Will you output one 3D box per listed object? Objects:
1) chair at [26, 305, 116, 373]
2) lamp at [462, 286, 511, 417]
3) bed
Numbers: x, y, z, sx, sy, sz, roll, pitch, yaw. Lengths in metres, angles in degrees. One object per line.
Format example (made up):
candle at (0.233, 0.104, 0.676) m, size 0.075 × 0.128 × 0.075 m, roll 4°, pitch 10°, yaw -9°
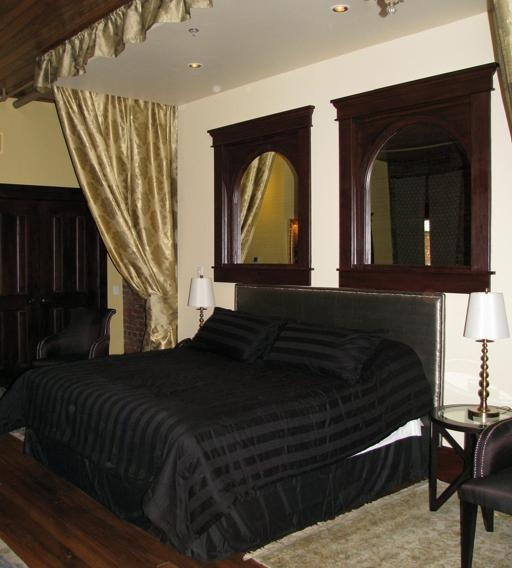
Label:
chair at (-1.846, 0.710, 5.298) m, size 0.613 × 0.929 × 0.673 m, roll 2°, pitch -3°, yaw 10°
lamp at (1.293, 0.384, 2.866) m, size 0.216 × 0.677 × 0.451 m, roll 0°, pitch 1°, yaw 23°
bed at (0.024, 0.737, 2.931) m, size 1.628 × 0.936 × 1.663 m, roll 2°, pitch -1°, yaw -36°
